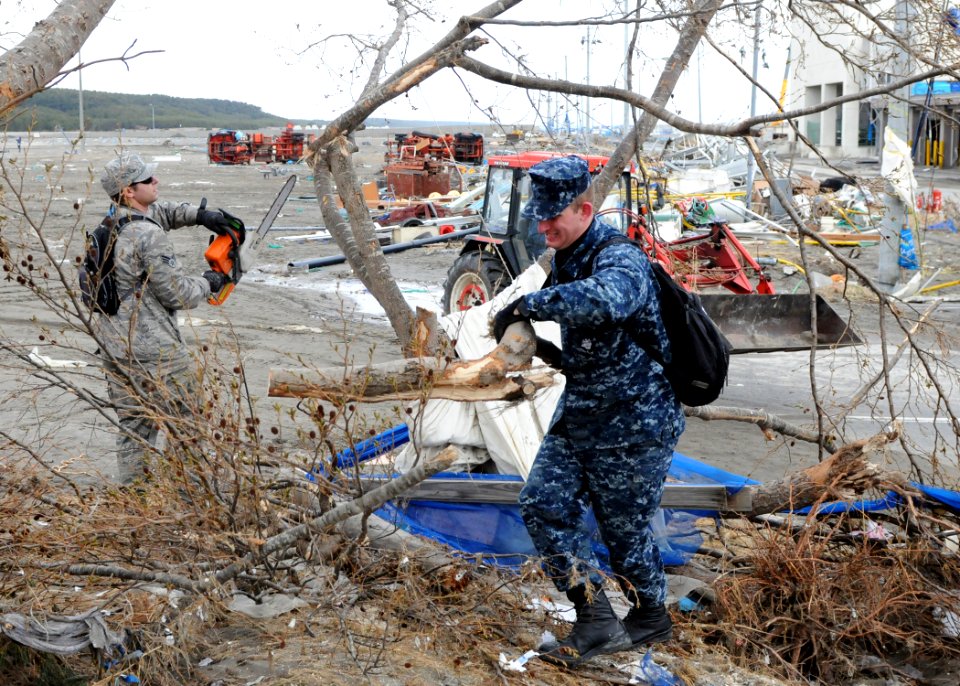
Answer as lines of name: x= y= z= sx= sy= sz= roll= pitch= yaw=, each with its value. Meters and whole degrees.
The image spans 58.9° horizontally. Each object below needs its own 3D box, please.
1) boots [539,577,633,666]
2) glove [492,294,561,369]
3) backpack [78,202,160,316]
boots: x=0.410 y=1.414 z=4.295 sx=0.596 sy=0.419 sz=0.241 roll=-4 pitch=-7 yaw=-15
glove: x=0.204 y=-0.071 z=4.243 sx=0.308 sy=0.350 sz=0.273 roll=-4 pitch=18 yaw=-26
backpack: x=-2.308 y=-0.506 z=5.285 sx=0.385 sy=0.663 sz=0.370 roll=-16 pitch=23 yaw=-42
